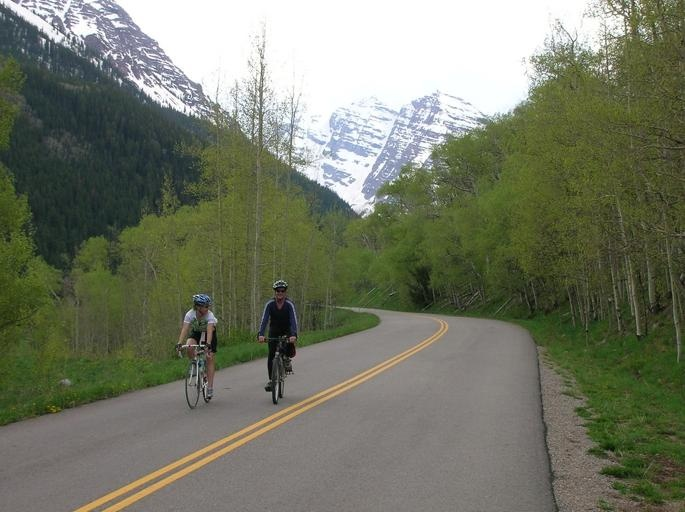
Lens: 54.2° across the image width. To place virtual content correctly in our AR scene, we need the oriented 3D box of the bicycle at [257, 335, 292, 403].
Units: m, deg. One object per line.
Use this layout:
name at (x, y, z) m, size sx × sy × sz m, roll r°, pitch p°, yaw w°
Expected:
bicycle at (-1.761, 3.130, 18.597) m, size 0.479 × 1.767 × 1.386 m, roll 1°, pitch -3°, yaw 8°

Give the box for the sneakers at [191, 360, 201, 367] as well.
sneakers at (-4.020, 2.938, 18.300) m, size 0.167 × 0.352 × 0.169 m, roll 6°, pitch -14°, yaw -37°

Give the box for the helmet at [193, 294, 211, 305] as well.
helmet at (-3.995, 1.222, 18.497) m, size 0.456 × 0.220 × 0.357 m, roll -3°, pitch -2°, yaw 34°

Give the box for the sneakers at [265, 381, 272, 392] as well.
sneakers at (-1.994, 3.519, 18.093) m, size 0.168 × 0.276 × 0.429 m, roll 2°, pitch -4°, yaw -5°

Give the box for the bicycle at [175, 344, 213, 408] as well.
bicycle at (-3.937, 3.247, 18.245) m, size 0.497 × 1.696 × 1.103 m, roll 1°, pitch -4°, yaw 20°
